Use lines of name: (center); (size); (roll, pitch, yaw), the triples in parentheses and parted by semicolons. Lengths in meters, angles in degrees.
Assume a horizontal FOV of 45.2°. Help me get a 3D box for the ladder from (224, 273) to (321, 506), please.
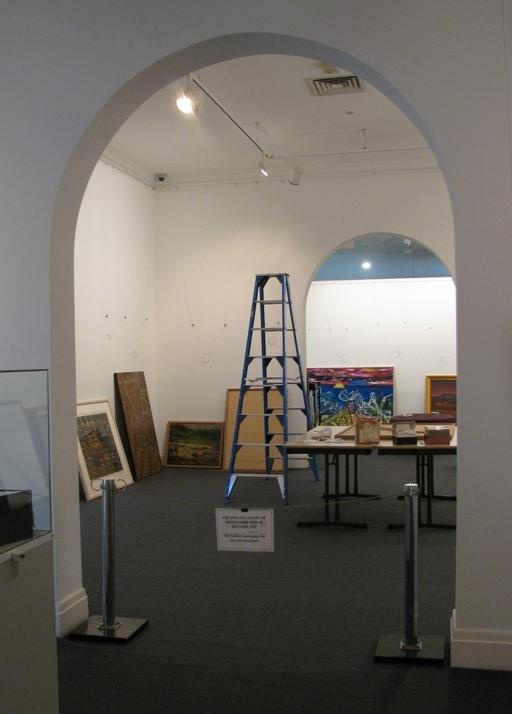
ladder: (0.148, 0.251, 7.164); (0.963, 2.451, 1.880); (-2, 5, 3)

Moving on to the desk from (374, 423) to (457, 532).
desk: (1.179, 0.875, 4.534); (0.574, 0.538, 1.088); (0, 1, 10)

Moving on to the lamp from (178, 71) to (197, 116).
lamp: (-0.596, -2.218, 5.199); (0.155, 0.241, 0.442); (-3, 5, -5)

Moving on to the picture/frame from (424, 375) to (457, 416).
picture/frame: (2.809, 0.569, 9.379); (0.445, 0.557, 0.414); (-1, 5, 13)

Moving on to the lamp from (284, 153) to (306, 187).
lamp: (0.473, -2.261, 7.455); (0.260, 0.490, 0.276); (3, 3, 28)
